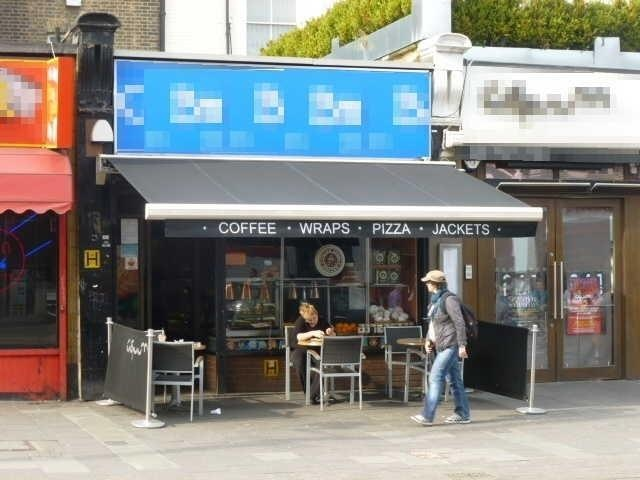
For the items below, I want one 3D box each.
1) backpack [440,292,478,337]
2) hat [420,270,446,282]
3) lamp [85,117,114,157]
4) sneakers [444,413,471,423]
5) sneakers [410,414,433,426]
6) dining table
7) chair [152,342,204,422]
[{"bbox_3d":[2.019,1.188,16.957,0.725,0.701,0.485,-5,-8,0],"label":"backpack"},{"bbox_3d":[1.752,0.589,17.215,0.299,0.139,0.229,0,-3,28],"label":"hat"},{"bbox_3d":[-3.653,-1.675,18.319,0.479,0.591,0.344,0,5,-9],"label":"lamp"},{"bbox_3d":[2.129,2.804,17.174,0.389,0.162,0.152,4,-3,-2],"label":"sneakers"},{"bbox_3d":[1.548,2.785,17.013,0.135,0.141,0.335,2,6,-42],"label":"sneakers"},{"bbox_3d":[-2.272,2.190,17.434,0.884,1.177,0.890,1,0,-9],"label":"dining table"},{"bbox_3d":[-2.213,2.173,17.617,1.082,1.524,1.136,0,-3,1],"label":"chair"}]
